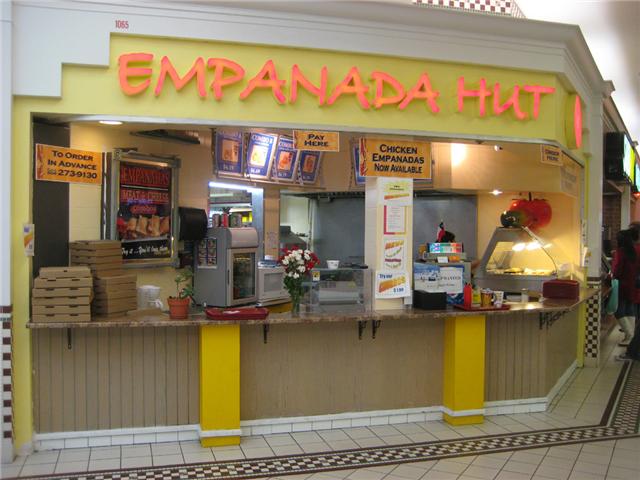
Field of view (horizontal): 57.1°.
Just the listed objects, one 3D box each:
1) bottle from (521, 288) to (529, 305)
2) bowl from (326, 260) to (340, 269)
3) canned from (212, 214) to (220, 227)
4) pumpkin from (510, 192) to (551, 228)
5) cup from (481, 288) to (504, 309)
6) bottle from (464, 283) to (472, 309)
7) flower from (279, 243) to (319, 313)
[{"bbox_3d":[2.626,0.714,7.497,0.093,0.150,0.418,4,7,21],"label":"bottle"},{"bbox_3d":[0.147,0.286,6.827,0.133,0.082,0.132,0,-5,0],"label":"bowl"},{"bbox_3d":[-1.314,-0.236,7.453,0.128,0.171,0.173,0,-2,-5],"label":"canned"},{"bbox_3d":[3.262,-0.450,9.021,0.492,0.466,0.490,-2,-3,-6],"label":"pumpkin"},{"bbox_3d":[2.030,0.712,7.029,0.194,0.192,0.271,1,-2,-7],"label":"cup"},{"bbox_3d":[1.719,0.658,6.810,0.100,0.264,0.086,3,7,16],"label":"bottle"},{"bbox_3d":[-0.237,0.441,6.535,0.402,0.716,0.288,1,6,-1],"label":"flower"}]
